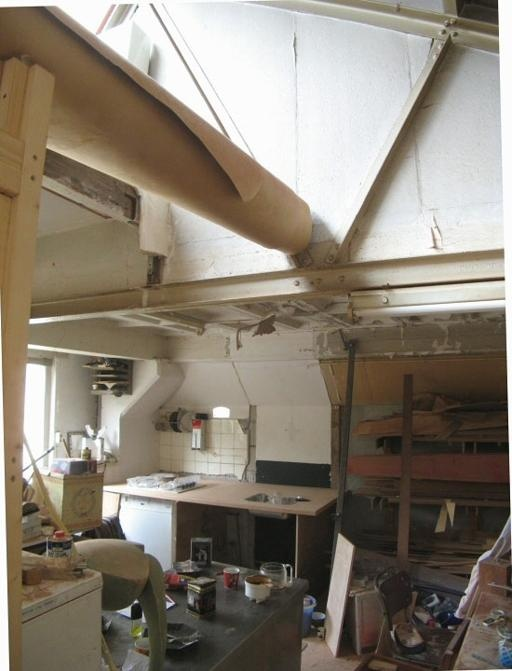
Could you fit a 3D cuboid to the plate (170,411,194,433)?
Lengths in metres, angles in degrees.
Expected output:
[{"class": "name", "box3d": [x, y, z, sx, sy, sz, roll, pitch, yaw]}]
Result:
[{"class": "plate", "box3d": [-0.742, 0.844, 5.831, 0.232, 0.222, 0.129, -1, -7, -9]}]

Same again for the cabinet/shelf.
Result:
[{"class": "cabinet/shelf", "box3d": [-0.661, 1.553, 5.076, 0.661, 0.865, 0.617, 3, 10, 22]}]

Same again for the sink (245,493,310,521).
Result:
[{"class": "sink", "box3d": [0.177, 1.338, 4.641, 0.510, 0.168, 0.518, -4, -7, 19]}]

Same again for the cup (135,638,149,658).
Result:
[{"class": "cup", "box3d": [-0.414, 1.133, 2.147, 0.041, 0.035, 0.039, -2, -6, 0]}]

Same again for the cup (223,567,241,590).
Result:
[{"class": "cup", "box3d": [-0.117, 1.188, 2.864, 0.083, 0.062, 0.085, 2, -13, 0]}]
